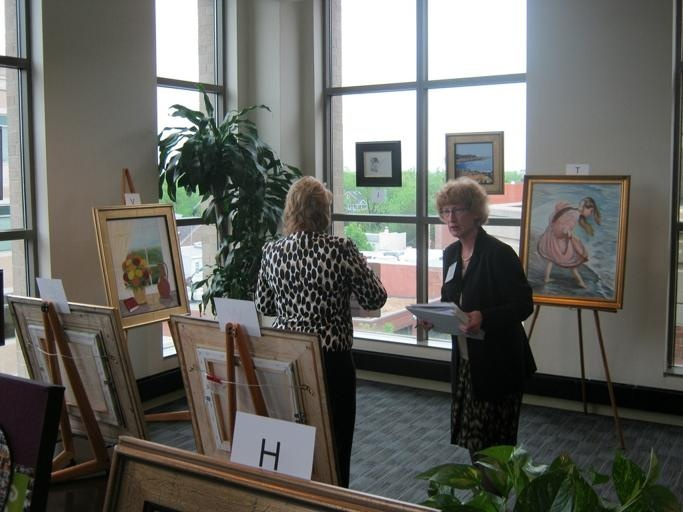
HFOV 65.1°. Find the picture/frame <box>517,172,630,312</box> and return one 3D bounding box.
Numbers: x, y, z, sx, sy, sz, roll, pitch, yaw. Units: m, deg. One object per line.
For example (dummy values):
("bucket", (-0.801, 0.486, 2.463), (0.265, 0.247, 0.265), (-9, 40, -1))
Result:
("picture/frame", (1.821, -0.105, 4.205), (0.943, 1.530, 0.107), (1, -1, 19))

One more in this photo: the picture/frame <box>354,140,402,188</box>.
("picture/frame", (0.414, -0.984, 5.722), (0.443, 0.449, 0.046), (4, 10, 29))

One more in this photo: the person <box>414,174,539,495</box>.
("person", (0.743, 0.415, 2.823), (0.491, 1.638, 0.649), (-5, 8, -35))

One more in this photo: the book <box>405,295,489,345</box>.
("book", (0.539, 0.327, 2.773), (0.403, 0.214, 0.260), (6, 9, 44))
